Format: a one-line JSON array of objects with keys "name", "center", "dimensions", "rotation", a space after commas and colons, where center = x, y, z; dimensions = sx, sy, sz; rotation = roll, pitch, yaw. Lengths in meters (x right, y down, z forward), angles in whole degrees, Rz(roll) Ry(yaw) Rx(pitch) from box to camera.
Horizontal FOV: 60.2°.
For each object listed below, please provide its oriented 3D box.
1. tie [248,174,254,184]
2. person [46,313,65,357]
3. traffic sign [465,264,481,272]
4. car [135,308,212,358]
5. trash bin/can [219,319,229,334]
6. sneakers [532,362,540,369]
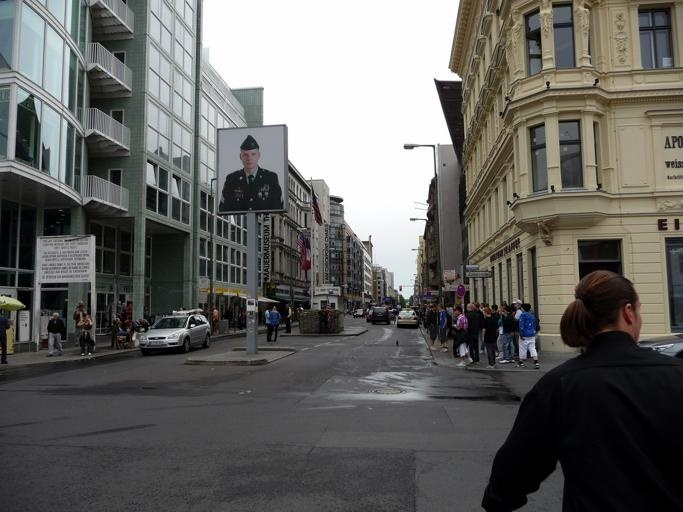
[{"name": "tie", "center": [-3.588, -3.039, 23.082], "dimensions": [0.259, 0.373, 0.058], "rotation": [-2, -3, 28]}, {"name": "person", "center": [-11.585, 3.113, 23.732], "dimensions": [0.569, 1.709, 1.546], "rotation": [1, -4, -27]}, {"name": "traffic sign", "center": [5.912, 0.551, 26.486], "dimensions": [0.483, 0.348, 1.495], "rotation": [-1, -4, 16]}, {"name": "car", "center": [-7.238, 3.356, 25.704], "dimensions": [1.510, 1.580, 3.710], "rotation": [-1, -4, 12]}, {"name": "trash bin/can", "center": [-8.172, 4.899, 40.876], "dimensions": [0.664, 1.180, 0.714], "rotation": [-2, 4, -21]}, {"name": "sneakers", "center": [5.799, 3.237, 17.441], "dimensions": [0.115, 0.181, 0.380], "rotation": [-2, -9, 8]}]
